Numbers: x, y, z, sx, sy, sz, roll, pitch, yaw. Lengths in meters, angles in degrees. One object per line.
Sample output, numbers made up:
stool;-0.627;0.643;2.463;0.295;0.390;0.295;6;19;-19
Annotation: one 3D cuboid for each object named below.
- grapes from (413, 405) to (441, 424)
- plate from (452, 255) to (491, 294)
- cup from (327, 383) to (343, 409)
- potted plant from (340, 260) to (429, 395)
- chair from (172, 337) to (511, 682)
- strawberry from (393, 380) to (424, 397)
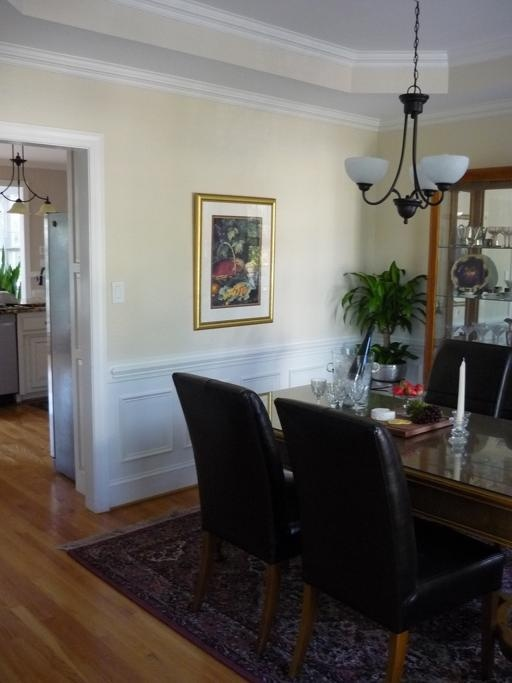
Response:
grapes;0.655;0.281;2.065;0.084;0.056;0.069;-9;-21;-14
plate;1.412;-0.435;3.544;0.231;0.232;0.053;6;10;38
cup;0.336;0.238;2.309;0.093;0.107;0.097;-1;-1;0
potted plant;1.027;-0.170;4.214;0.650;0.880;0.599;13;-17;-24
chair;0.504;0.296;1.743;1.124;0.739;0.823;-8;13;-41
strawberry;0.679;0.218;2.389;0.126;0.058;0.121;1;0;36
